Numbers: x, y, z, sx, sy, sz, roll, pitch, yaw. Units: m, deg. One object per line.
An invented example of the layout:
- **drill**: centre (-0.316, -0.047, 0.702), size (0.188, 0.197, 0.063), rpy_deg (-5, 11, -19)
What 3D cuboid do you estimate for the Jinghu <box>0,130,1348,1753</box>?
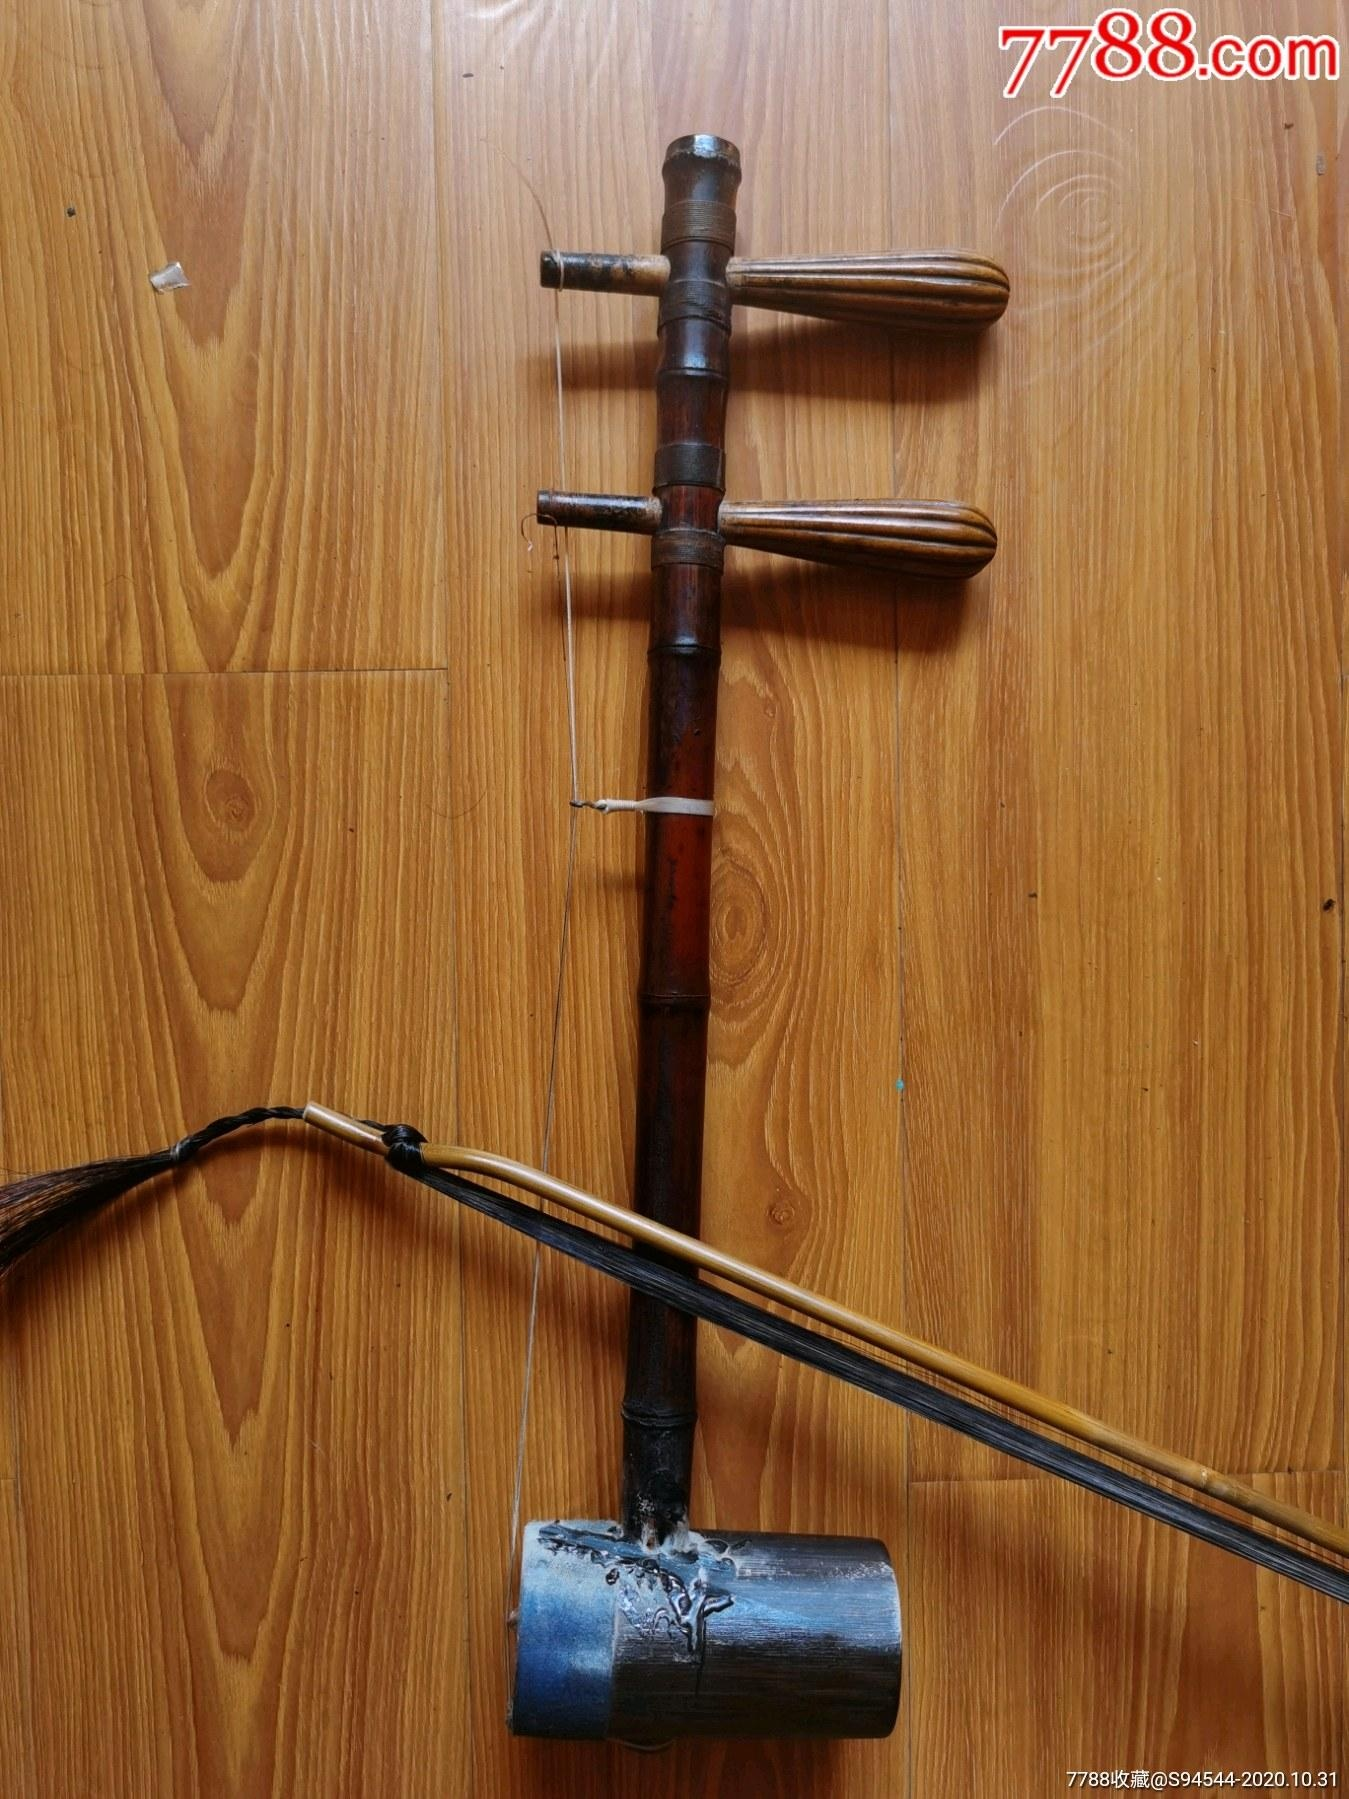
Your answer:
- **Jinghu**: centre (0.015, 0.035, 1.735), size (0.791, 0.967, 0.189), rpy_deg (4, -9, -6)
